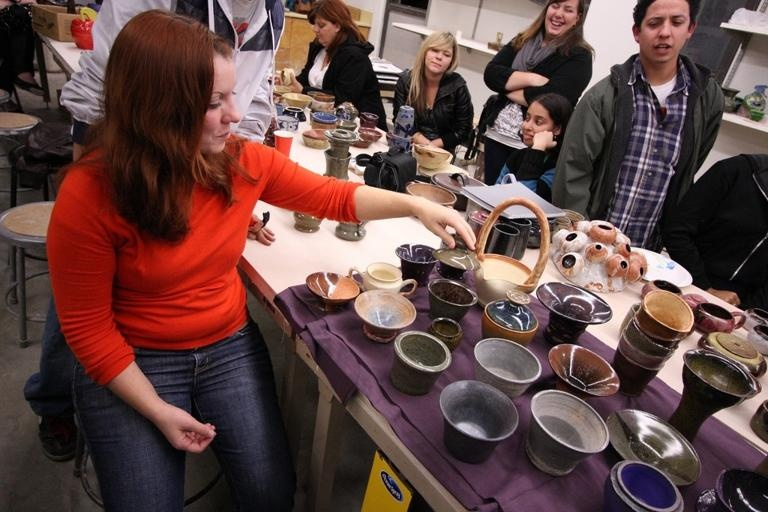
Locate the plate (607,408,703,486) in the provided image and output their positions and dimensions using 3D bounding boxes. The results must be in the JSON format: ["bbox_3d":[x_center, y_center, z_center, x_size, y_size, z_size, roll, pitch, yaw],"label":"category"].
[{"bbox_3d":[0.903,0.629,1.735,0.289,0.081,0.303,-3,28,-19],"label":"plate"}]

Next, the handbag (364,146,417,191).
[{"bbox_3d":[0.040,-0.460,2.749,0.217,0.216,0.295,-13,23,-31],"label":"handbag"}]

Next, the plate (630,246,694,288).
[{"bbox_3d":[1.389,0.063,2.570,0.225,0.036,0.244,11,34,5],"label":"plate"}]

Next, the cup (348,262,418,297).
[{"bbox_3d":[0.001,0.079,2.099,0.236,0.107,0.145,19,32,3],"label":"cup"}]

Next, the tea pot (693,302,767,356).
[{"bbox_3d":[1.466,0.283,2.184,0.316,0.138,0.203,12,4,-45],"label":"tea pot"}]

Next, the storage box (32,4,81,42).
[{"bbox_3d":[-2.855,-1.982,4.489,0.484,0.178,0.448,-19,42,-41],"label":"storage box"}]

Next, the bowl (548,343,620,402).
[{"bbox_3d":[0.694,0.414,1.836,0.213,0.088,0.219,10,22,-4],"label":"bowl"}]

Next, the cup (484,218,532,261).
[{"bbox_3d":[0.589,-0.089,2.476,0.140,0.165,0.232,28,15,31],"label":"cup"}]

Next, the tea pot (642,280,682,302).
[{"bbox_3d":[1.267,0.130,2.348,0.159,0.073,0.166,8,5,-1],"label":"tea pot"}]
